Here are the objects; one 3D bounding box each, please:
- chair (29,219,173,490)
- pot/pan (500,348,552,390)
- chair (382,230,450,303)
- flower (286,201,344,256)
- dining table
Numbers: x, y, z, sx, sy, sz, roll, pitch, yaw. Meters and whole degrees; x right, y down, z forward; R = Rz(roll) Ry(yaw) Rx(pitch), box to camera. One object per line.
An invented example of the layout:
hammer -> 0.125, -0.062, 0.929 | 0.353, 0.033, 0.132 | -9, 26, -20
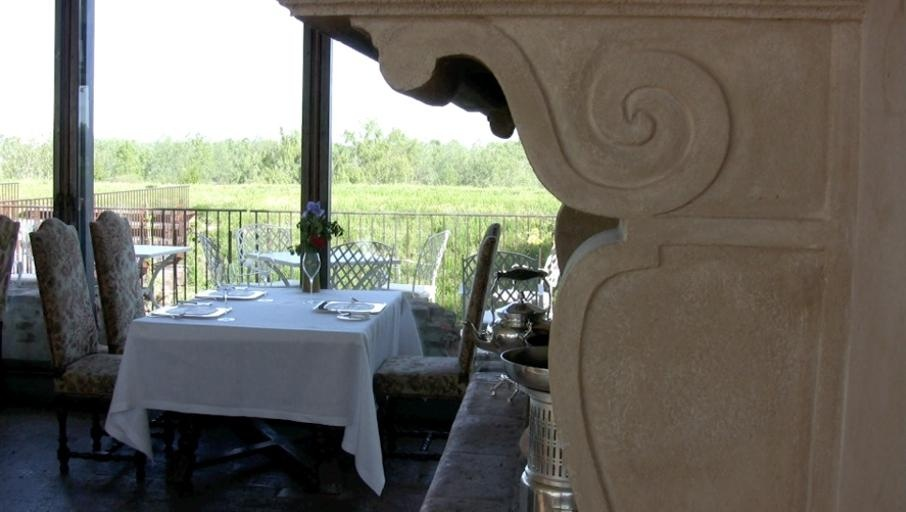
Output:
chair -> -1.837, 0.445, 4.535 | 1.013, 1.296, 0.937 | 3, 4, 25
pot/pan -> 0.201, 0.318, 2.307 | 0.131, 0.112, 0.144 | 2, 5, 3
chair -> -0.196, 0.068, 6.281 | 0.535, 0.733, 0.476 | 4, 4, 17
flower -> -0.775, -0.150, 4.591 | 0.278, 0.296, 0.163 | 1, 5, -9
dining table -> -0.951, 0.643, 4.257 | 1.343, 0.836, 0.916 | 2, 5, 6
